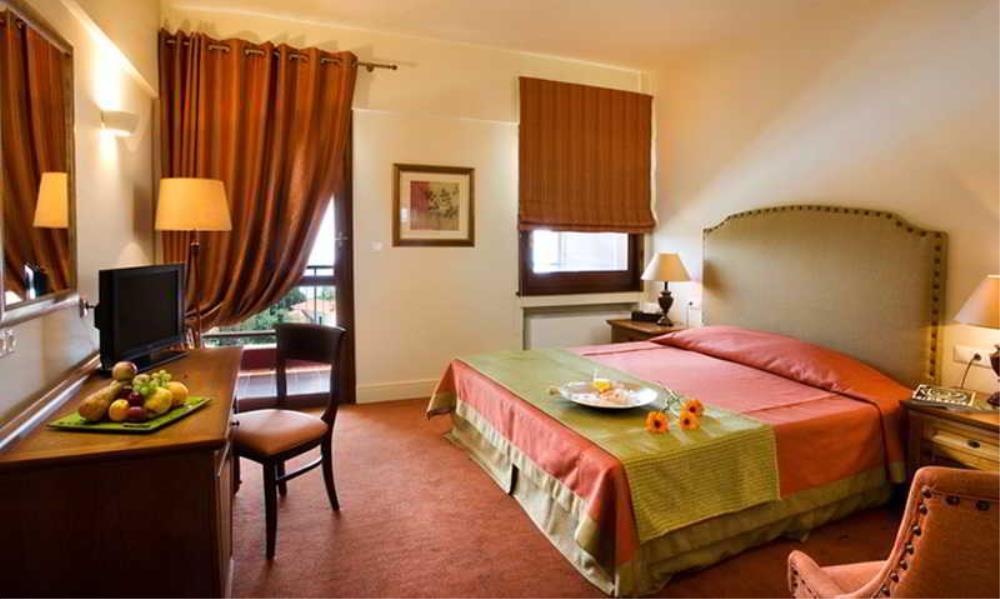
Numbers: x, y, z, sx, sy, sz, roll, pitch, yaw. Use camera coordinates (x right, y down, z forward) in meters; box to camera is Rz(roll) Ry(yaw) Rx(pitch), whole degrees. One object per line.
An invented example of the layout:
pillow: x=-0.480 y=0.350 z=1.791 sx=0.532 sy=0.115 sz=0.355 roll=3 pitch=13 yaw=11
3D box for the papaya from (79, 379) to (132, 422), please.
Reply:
papaya: x=-2.172 y=0.543 z=3.747 sx=0.142 sy=0.123 sz=0.309 roll=20 pitch=35 yaw=-1

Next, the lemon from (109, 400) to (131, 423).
lemon: x=-2.062 y=0.601 z=3.650 sx=0.116 sy=0.135 sz=0.113 roll=3 pitch=9 yaw=-36

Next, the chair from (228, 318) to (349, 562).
chair: x=-1.464 y=0.880 z=4.536 sx=0.630 sy=1.371 sz=0.684 roll=8 pitch=9 yaw=35

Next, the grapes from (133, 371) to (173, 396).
grapes: x=-1.961 y=0.469 z=3.804 sx=0.133 sy=0.082 sz=0.176 roll=1 pitch=-1 yaw=-1

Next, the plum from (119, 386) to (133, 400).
plum: x=-2.059 y=0.516 z=3.710 sx=0.069 sy=0.066 sz=0.053 roll=4 pitch=-2 yaw=12

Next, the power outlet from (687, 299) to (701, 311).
power outlet: x=1.890 y=0.046 z=6.526 sx=0.032 sy=0.082 sz=0.135 roll=1 pitch=-2 yaw=-33

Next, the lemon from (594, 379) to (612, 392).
lemon: x=0.694 y=0.566 z=4.507 sx=0.128 sy=0.088 sz=0.143 roll=3 pitch=7 yaw=6

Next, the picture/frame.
picture/frame: x=-0.662 y=-0.908 z=6.397 sx=0.894 sy=0.777 sz=0.073 roll=-2 pitch=6 yaw=-21

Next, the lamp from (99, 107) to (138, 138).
lamp: x=-2.580 y=-1.198 z=4.558 sx=0.186 sy=0.102 sz=0.158 roll=-5 pitch=1 yaw=18

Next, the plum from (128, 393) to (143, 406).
plum: x=-1.992 y=0.546 z=3.682 sx=0.067 sy=0.079 sz=0.067 roll=2 pitch=6 yaw=20

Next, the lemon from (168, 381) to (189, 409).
lemon: x=-1.795 y=0.544 z=3.825 sx=0.123 sy=0.144 sz=0.130 roll=-11 pitch=-9 yaw=26

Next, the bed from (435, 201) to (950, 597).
bed: x=1.409 y=0.714 z=5.047 sx=3.023 sy=1.919 sz=2.913 roll=-8 pitch=10 yaw=-21

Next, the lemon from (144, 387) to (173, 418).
lemon: x=-1.882 y=0.558 z=3.717 sx=0.159 sy=0.164 sz=0.122 roll=15 pitch=1 yaw=-31

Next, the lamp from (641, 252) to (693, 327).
lamp: x=1.585 y=-0.105 z=6.628 sx=0.669 sy=0.861 sz=0.645 roll=1 pitch=-1 yaw=8

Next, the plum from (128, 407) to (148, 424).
plum: x=-1.954 y=0.623 z=3.626 sx=0.089 sy=0.082 sz=0.087 roll=-5 pitch=5 yaw=-40
